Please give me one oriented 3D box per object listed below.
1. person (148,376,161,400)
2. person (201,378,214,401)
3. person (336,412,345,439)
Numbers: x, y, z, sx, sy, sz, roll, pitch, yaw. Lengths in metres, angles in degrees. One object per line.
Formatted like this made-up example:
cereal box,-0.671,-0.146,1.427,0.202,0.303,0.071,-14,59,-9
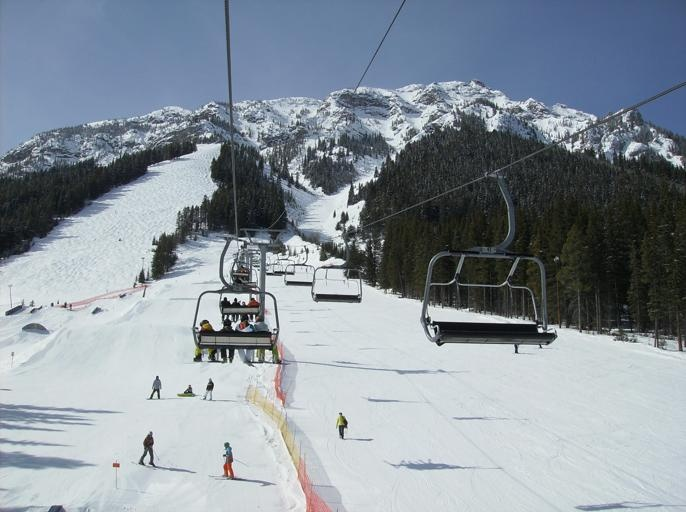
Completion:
person,-15.169,10.679,53.975,1.114,0.821,2.663,2,-47,-17
person,-10.580,10.344,52.667,0.695,1.555,2.466,-3,14,-9
person,-0.146,11.590,46.418,0.609,1.401,1.751,-2,14,-4
